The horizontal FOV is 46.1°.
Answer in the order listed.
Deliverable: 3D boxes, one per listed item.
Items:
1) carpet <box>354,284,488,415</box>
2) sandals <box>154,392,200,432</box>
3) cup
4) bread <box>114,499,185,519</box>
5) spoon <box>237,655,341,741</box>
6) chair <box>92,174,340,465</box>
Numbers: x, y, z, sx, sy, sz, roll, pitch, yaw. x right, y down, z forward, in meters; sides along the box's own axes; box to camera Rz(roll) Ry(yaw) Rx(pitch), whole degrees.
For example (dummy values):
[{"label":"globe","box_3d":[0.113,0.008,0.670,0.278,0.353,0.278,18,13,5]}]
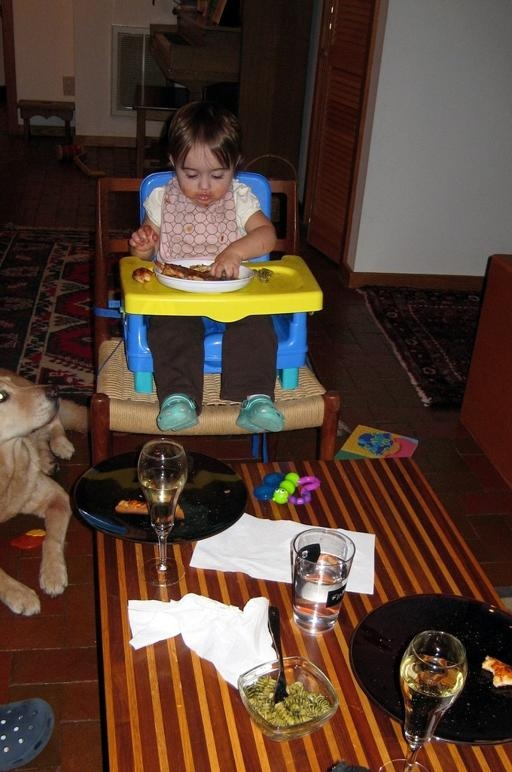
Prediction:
[{"label":"carpet","box_3d":[0.954,-0.151,3.395,0.630,0.025,0.943,-1,40,-11]},{"label":"sandals","box_3d":[-0.189,0.071,1.459,0.074,0.104,0.081,1,37,-9]},{"label":"cup","box_3d":[0.109,0.319,0.964,0.091,0.134,0.091,7,13,-2]},{"label":"bread","box_3d":[-0.210,0.242,1.176,0.079,0.017,0.053,6,2,-3]},{"label":"spoon","box_3d":[0.046,0.398,0.780,0.119,0.030,0.102,-13,36,-29]},{"label":"chair","box_3d":[-0.150,-0.200,2.002,0.732,0.826,0.972,-3,26,-14]}]
